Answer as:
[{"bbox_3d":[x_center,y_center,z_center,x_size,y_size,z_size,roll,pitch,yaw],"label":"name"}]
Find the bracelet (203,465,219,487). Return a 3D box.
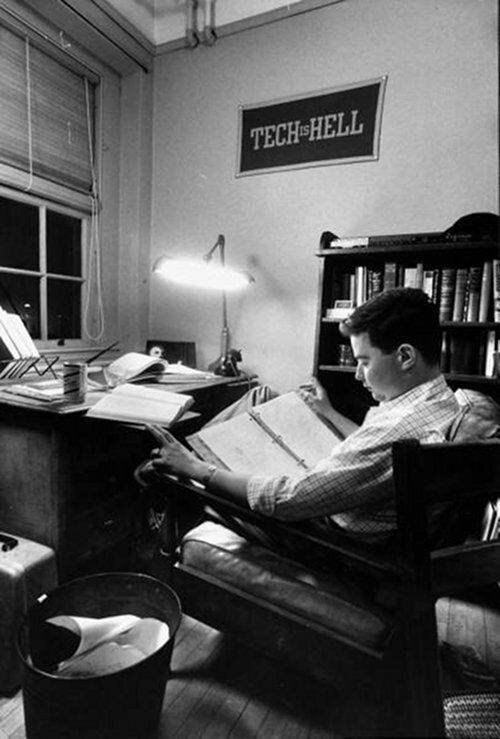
[{"bbox_3d":[-0.079,0.205,1.085,0.018,0.010,0.033,5,33,17],"label":"bracelet"}]

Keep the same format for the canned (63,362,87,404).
[{"bbox_3d":[-0.463,0.032,1.481,0.056,0.100,0.092,-3,9,-15],"label":"canned"}]

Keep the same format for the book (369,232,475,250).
[{"bbox_3d":[0.637,-0.487,2.110,0.403,0.061,0.208,4,11,26],"label":"book"}]
